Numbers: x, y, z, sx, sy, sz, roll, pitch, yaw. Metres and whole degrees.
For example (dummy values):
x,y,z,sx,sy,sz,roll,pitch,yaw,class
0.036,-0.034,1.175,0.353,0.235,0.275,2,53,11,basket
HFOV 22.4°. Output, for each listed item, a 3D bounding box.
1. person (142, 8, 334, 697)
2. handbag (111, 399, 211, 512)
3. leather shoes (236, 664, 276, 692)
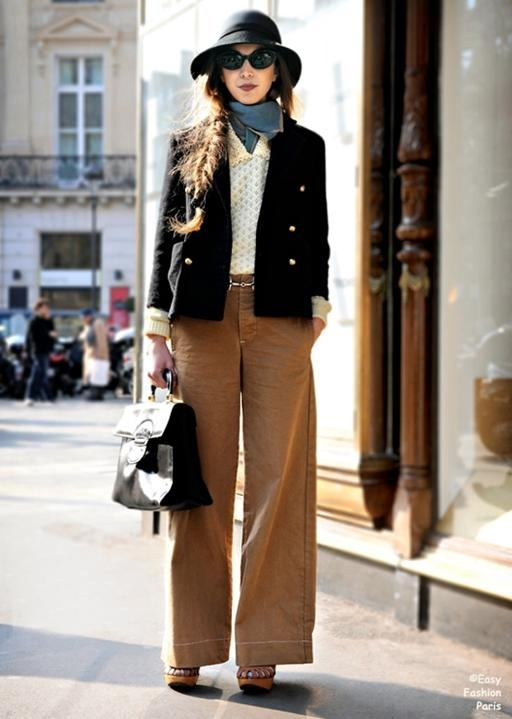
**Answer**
x,y,z,sx,sy,sz,roll,pitch,yaw,class
-0.057,-0.050,3.802,0.538,1.997,0.350,1,3,0,person
-0.259,0.271,3.654,0.135,0.325,0.278,16,-17,-42,handbag
0.005,0.926,3.725,0.127,0.070,0.070,0,4,-27,leather shoes
